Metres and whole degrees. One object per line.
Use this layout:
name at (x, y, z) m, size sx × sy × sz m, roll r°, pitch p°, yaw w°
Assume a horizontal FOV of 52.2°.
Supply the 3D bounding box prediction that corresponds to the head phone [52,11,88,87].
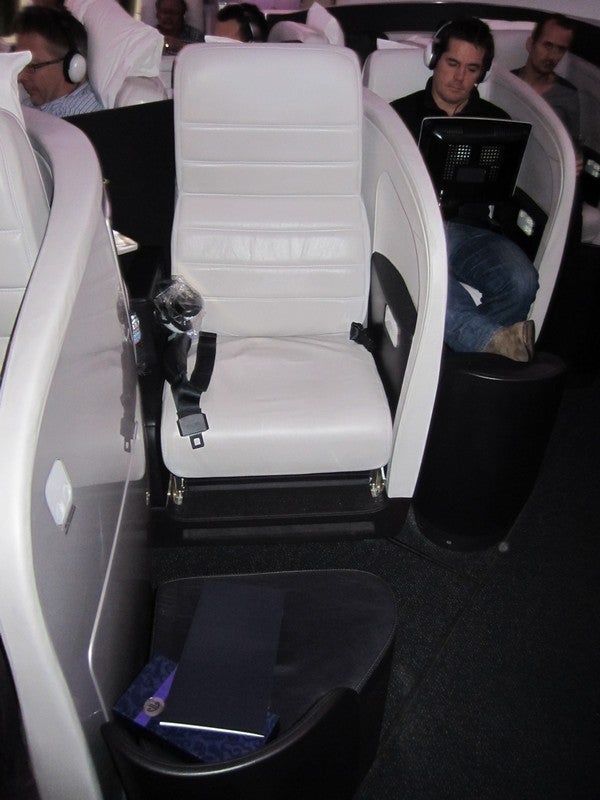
head phone at (-0.787, -1.186, 2.076) m, size 0.070 × 0.258 × 0.250 m, roll -8°, pitch 38°, yaw -12°

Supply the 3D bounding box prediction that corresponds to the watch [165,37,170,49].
watch at (-0.502, -1.347, 2.306) m, size 0.014 × 0.027 × 0.008 m, roll 1°, pitch 12°, yaw -5°
